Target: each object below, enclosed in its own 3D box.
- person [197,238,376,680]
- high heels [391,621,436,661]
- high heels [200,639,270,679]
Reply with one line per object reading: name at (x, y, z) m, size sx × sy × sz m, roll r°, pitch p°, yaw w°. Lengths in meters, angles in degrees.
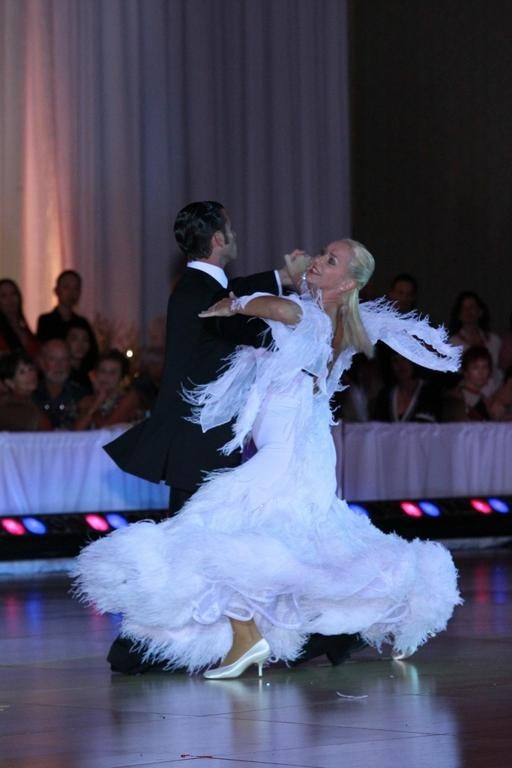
person at (0.048, 0.178, 2.640) m, size 0.321 × 1.068 × 0.530 m, roll 4°, pitch 9°, yaw 25°
high heels at (0.403, 0.654, 2.738) m, size 0.088 × 0.045 × 0.128 m, roll -25°, pitch -10°, yaw -43°
high heels at (-0.030, 0.656, 2.535) m, size 0.215 × 0.102 × 0.068 m, roll -6°, pitch -8°, yaw 15°
